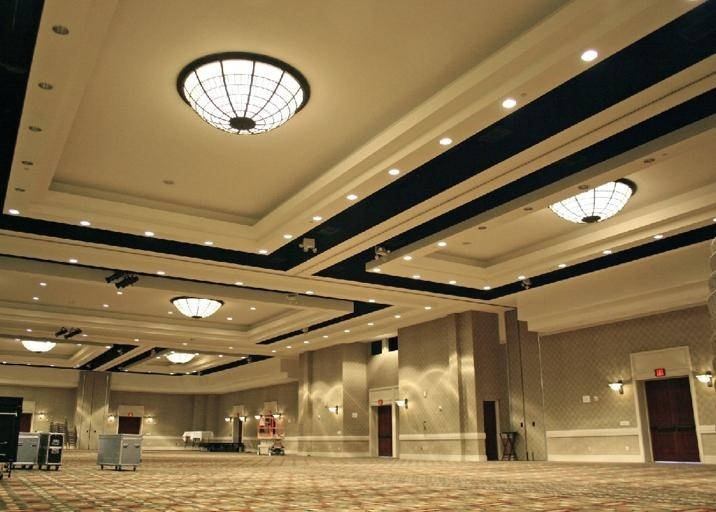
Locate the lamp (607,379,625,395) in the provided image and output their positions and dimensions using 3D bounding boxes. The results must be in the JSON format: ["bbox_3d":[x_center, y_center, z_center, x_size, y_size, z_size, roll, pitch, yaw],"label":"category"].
[{"bbox_3d":[8.688,4.375,16.446,0.444,0.546,0.581,4,-12,-18],"label":"lamp"}]

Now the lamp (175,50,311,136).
[{"bbox_3d":[-1.896,-2.703,8.142,2.125,0.819,0.992,-1,-21,-4],"label":"lamp"}]

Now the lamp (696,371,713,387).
[{"bbox_3d":[10.219,3.631,14.380,0.410,0.463,0.491,-15,-25,29],"label":"lamp"}]

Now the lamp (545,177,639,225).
[{"bbox_3d":[5.494,-1.056,11.618,1.800,0.507,1.660,2,-18,-12],"label":"lamp"}]

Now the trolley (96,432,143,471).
[{"bbox_3d":[-6.601,5.442,13.608,1.258,0.773,0.797,-13,-23,30],"label":"trolley"}]

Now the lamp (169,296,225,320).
[{"bbox_3d":[-5.705,1.808,17.559,1.498,0.584,1.201,-11,-23,22],"label":"lamp"}]
